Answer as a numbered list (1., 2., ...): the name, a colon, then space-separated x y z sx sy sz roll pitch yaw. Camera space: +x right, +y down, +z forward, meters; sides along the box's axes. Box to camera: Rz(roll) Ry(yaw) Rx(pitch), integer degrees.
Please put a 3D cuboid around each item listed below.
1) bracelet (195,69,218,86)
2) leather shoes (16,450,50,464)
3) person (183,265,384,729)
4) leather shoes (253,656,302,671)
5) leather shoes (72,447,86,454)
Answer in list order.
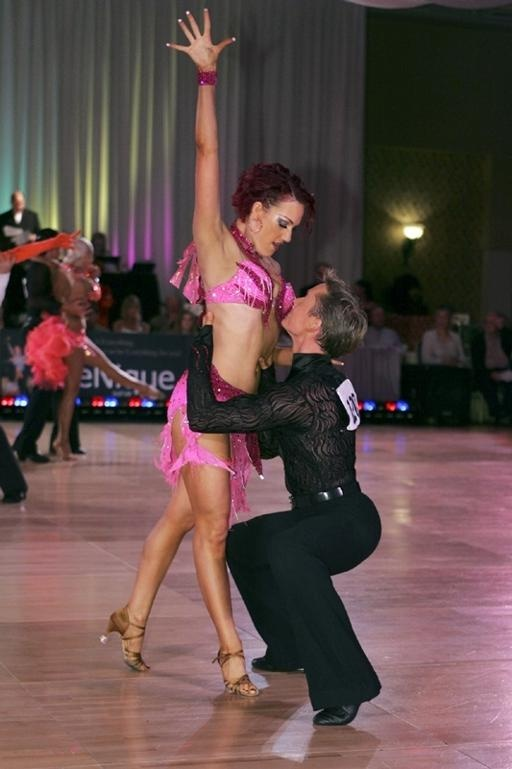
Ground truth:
1. bracelet: -0.112 -0.682 1.904 0.055 0.035 0.050 -2 2 1
2. leather shoes: -1.651 0.546 6.355 0.287 0.100 0.089 -2 1 0
3. person: 0.069 0.236 1.929 0.443 0.993 0.512 2 1 7
4. leather shoes: 0.051 0.709 2.179 0.137 0.032 0.044 4 -3 4
5. leather shoes: -1.408 0.540 6.737 0.122 0.034 0.080 5 -10 -15
